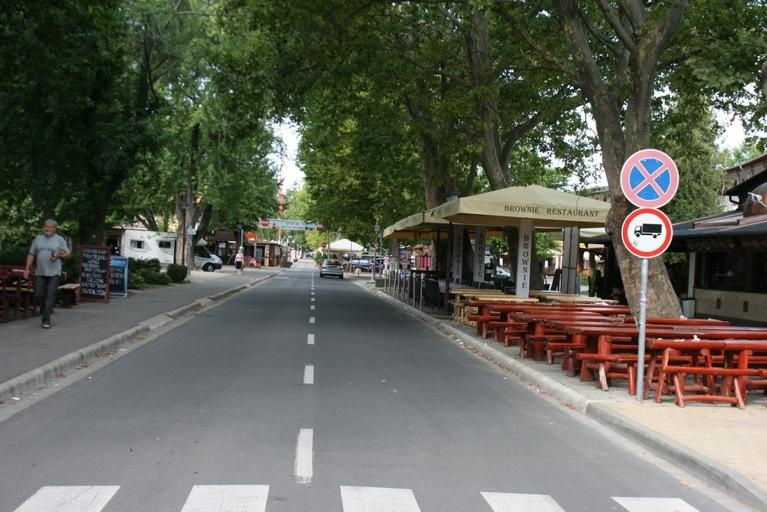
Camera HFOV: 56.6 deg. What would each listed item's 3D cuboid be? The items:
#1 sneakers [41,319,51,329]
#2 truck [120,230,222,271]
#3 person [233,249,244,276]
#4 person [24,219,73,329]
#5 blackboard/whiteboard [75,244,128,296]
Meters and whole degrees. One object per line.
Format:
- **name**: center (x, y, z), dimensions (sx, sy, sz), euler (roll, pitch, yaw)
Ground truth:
- **sneakers**: center (-7.699, 1.572, 16.249), dimensions (0.178, 0.183, 0.341), euler (-1, 5, -28)
- **truck**: center (-17.203, -0.443, 56.642), dimensions (6.732, 2.967, 3.201), euler (1, 5, -18)
- **person**: center (-10.604, 0.670, 52.272), dimensions (0.419, 1.463, 2.069), euler (0, 5, -16)
- **person**: center (-7.916, 0.414, 16.671), dimensions (0.899, 2.521, 1.496), euler (-1, 6, -28)
- **blackboard/whiteboard**: center (-8.989, 0.591, 23.061), dimensions (1.472, 1.692, 1.088), euler (3, -1, 2)
